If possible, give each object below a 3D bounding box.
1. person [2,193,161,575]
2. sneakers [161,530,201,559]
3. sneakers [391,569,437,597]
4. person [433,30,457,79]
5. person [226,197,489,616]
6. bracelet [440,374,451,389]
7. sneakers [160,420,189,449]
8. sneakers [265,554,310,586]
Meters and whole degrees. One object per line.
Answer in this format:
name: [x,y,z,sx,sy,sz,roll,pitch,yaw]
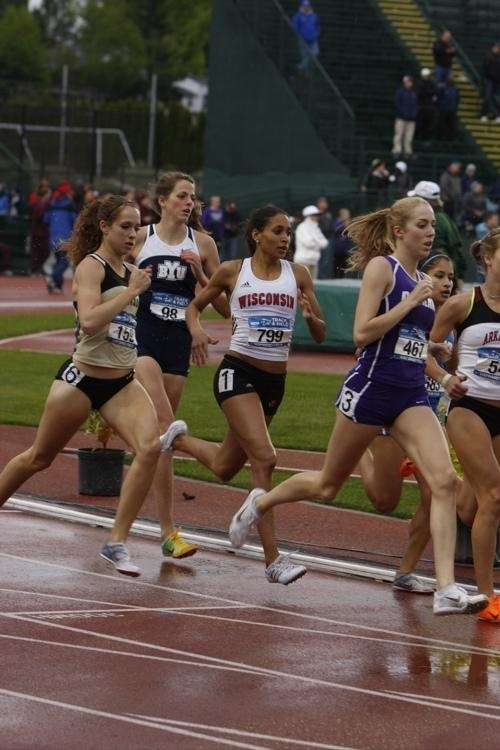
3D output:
person: [-0.777,0.032,3.890,0.723,1.776,0.492,3,-2,40]
sneakers: [-0.409,0.961,4.387,0.106,0.127,0.289,-24,4,-28]
sneakers: [0.869,1.105,4.078,0.224,0.088,0.078,3,3,17]
person: [4.063,-6.700,16.128,0.263,0.819,1.026,4,-1,26]
person: [0.585,0.075,3.471,0.497,1.418,1.177,6,-2,-35]
bracelet: [0.919,0.032,3.637,0.022,0.057,0.044,28,11,-15]
sneakers: [-0.441,0.337,4.495,0.087,0.240,0.105,42,26,-23]
sneakers: [0.186,0.968,3.838,0.095,0.131,0.260,-41,12,-28]
